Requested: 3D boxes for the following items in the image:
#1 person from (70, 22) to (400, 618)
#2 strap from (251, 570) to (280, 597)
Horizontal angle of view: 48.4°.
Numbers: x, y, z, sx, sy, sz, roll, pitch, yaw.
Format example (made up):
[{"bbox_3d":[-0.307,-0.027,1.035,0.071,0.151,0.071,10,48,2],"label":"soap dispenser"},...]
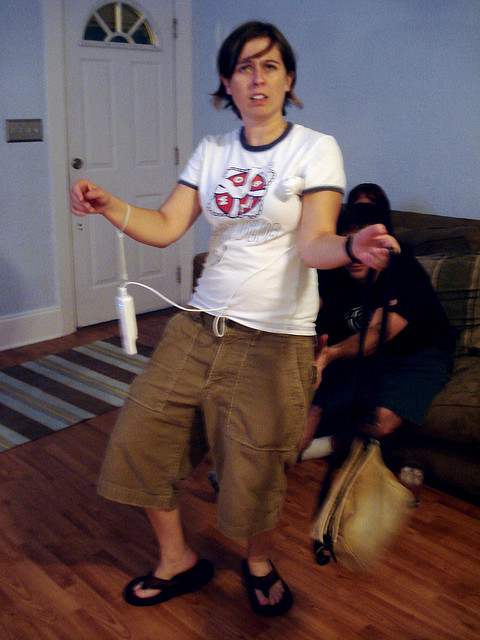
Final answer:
[{"bbox_3d":[0.011,-0.061,1.075,0.684,1.005,0.368,9,16,29],"label":"person"},{"bbox_3d":[0.064,0.645,1.306,0.039,0.061,0.062,-8,-25,0],"label":"strap"}]
